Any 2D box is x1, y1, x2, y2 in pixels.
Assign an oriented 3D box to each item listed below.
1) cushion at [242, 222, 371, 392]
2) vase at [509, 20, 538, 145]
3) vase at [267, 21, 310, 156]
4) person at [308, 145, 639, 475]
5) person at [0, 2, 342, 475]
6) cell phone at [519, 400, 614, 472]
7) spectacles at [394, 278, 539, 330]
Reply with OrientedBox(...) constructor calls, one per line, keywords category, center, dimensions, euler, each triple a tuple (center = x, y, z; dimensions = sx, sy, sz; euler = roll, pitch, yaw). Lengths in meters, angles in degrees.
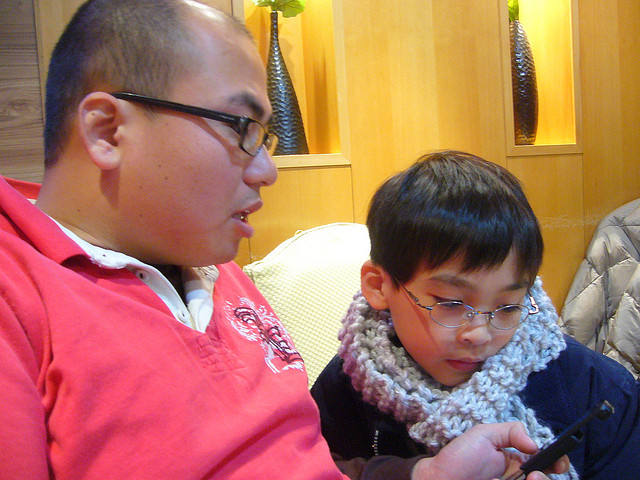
OrientedBox(category="cushion", center=(-0.086, 0.195, 1.575), dimensions=(0.378, 0.516, 0.385), euler=(1, -11, -30))
OrientedBox(category="vase", center=(0.786, -0.610, 2.020), dimensions=(0.145, 0.469, 0.050), euler=(-4, 8, -21))
OrientedBox(category="vase", center=(-0.105, -0.494, 1.686), dimensions=(0.120, 0.435, 0.142), euler=(-2, 7, -3))
OrientedBox(category="person", center=(0.292, 0.182, 1.191), dimensions=(0.699, 0.737, 0.661), euler=(-3, 0, -9))
OrientedBox(category="person", center=(-0.277, -0.011, 0.923), dimensions=(0.498, 0.837, 0.430), euler=(-5, 8, -25))
OrientedBox(category="cell phone", center=(0.458, 0.365, 0.966), dimensions=(0.232, 0.064, 0.047), euler=(-46, 1, 26))
OrientedBox(category="spectacles", center=(0.281, 0.128, 1.042), dimensions=(0.261, 0.094, 0.081), euler=(-1, 7, 7))
